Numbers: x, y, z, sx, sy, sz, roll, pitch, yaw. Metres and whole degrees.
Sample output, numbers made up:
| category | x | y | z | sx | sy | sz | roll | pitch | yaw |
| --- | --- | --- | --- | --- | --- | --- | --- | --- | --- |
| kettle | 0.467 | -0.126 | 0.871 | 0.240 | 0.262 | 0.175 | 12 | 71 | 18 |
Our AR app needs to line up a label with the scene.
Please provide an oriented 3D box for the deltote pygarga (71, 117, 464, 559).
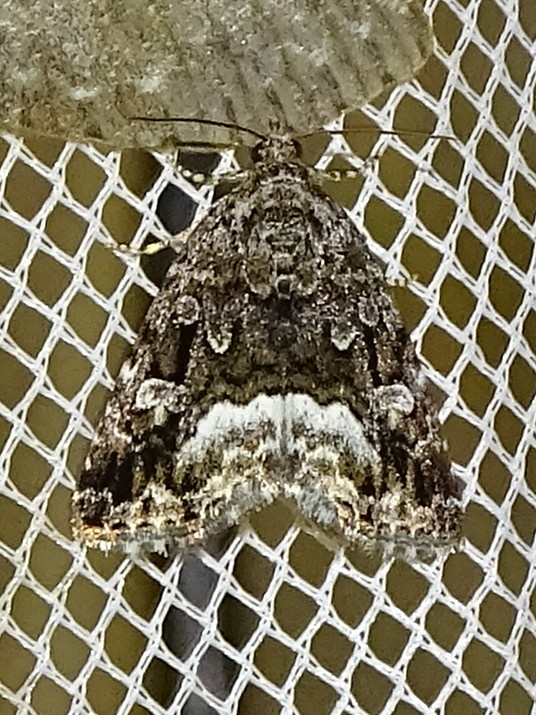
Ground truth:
| category | x | y | z | sx | sy | sz | roll | pitch | yaw |
| --- | --- | --- | --- | --- | --- | --- | --- | --- | --- |
| deltote pygarga | -0.030 | -0.024 | 1.380 | 0.580 | 0.185 | 0.704 | -1 | 92 | -1 |
